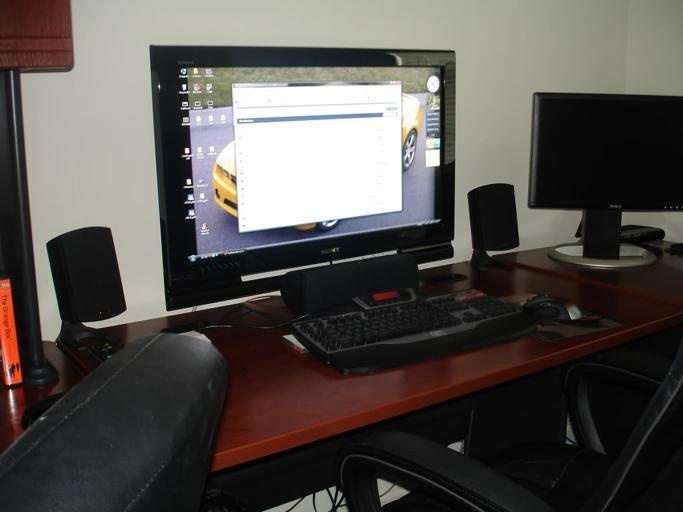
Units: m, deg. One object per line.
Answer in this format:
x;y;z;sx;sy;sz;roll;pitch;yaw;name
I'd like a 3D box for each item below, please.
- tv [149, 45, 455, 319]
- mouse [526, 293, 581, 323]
-0.082;-0.174;1.227;0.631;0.466;0.064;-8;15;-29;tv
0.480;0.122;1.253;0.103;0.035;0.060;15;14;33;mouse
